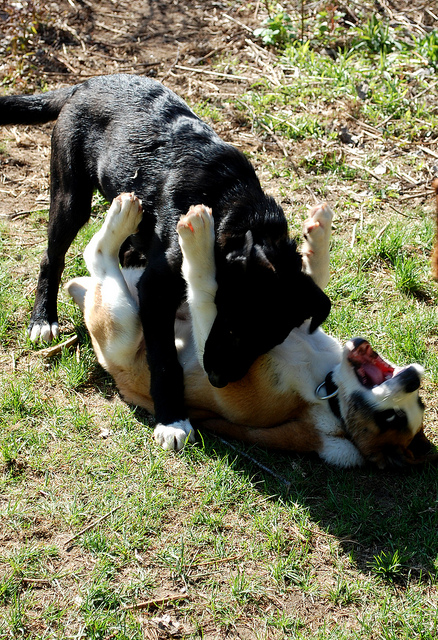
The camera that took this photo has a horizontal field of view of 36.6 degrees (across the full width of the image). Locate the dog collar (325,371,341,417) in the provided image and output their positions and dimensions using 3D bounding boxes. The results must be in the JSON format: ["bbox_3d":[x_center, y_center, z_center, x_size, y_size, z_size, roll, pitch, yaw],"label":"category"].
[{"bbox_3d":[0.545,0.365,3.180,0.058,0.168,0.142,-17,18,-11],"label":"dog collar"}]

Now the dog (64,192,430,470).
[{"bbox_3d":[0.021,-0.086,3.655,2.477,1.108,0.838,22,29,19],"label":"dog"}]
